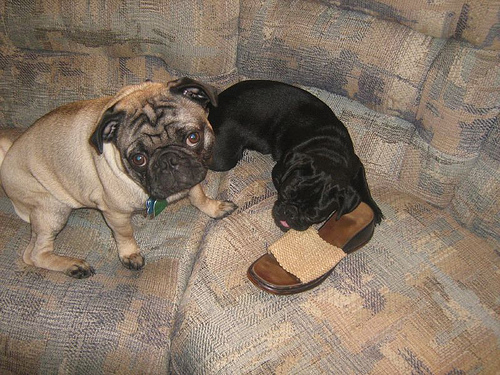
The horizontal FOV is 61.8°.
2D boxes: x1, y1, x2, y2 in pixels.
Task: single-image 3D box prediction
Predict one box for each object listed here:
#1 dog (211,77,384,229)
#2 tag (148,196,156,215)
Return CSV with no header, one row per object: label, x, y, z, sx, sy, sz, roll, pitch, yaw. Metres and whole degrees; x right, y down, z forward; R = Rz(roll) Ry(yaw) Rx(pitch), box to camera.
dog,0.210,-0.261,2.320,0.677,0.387,0.988,-21,51,-15
tag,-0.466,0.085,1.978,0.017,0.073,0.041,18,19,22
